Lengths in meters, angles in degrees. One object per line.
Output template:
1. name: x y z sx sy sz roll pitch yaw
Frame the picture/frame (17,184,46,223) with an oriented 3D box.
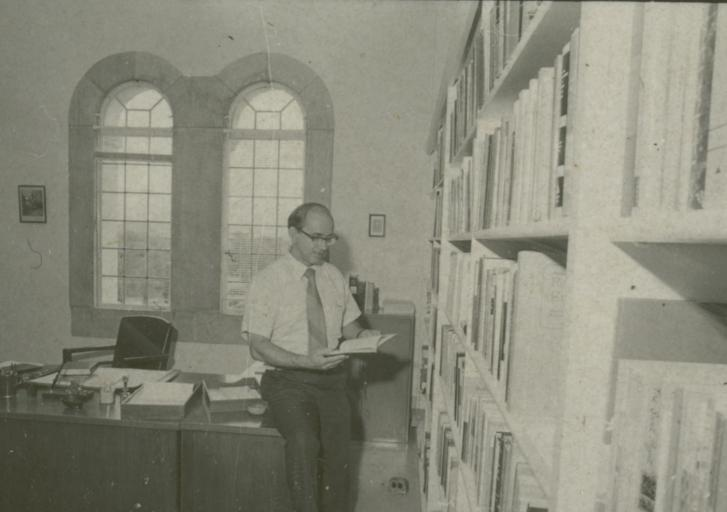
1. picture/frame: -1.352 -0.222 4.025 0.147 0.190 0.012 0 -1 5

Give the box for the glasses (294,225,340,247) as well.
1. glasses: -0.175 -0.080 3.929 0.092 0.028 0.091 24 8 38
